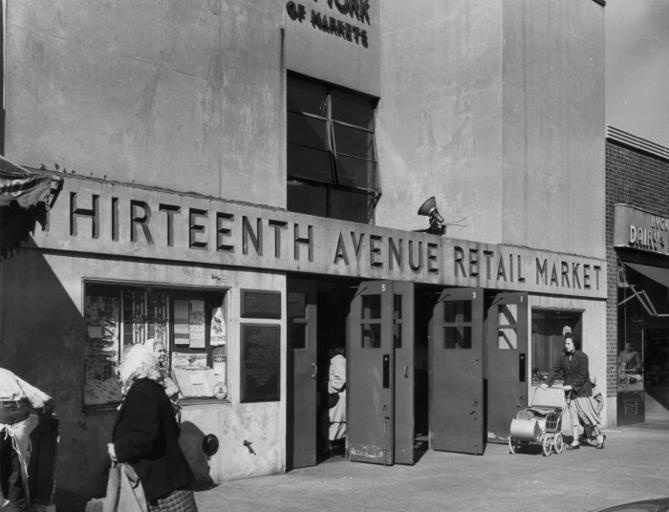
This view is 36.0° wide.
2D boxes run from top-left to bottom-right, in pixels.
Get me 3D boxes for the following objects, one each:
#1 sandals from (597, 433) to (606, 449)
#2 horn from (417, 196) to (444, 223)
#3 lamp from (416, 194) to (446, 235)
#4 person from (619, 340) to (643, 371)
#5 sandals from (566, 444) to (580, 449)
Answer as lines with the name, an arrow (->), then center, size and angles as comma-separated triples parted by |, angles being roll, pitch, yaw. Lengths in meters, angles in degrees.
sandals -> 5.075, 3.538, 19.736 | 0.139, 0.219, 0.455 | -3, 6, 19
horn -> 1.966, -0.891, 20.706 | 0.430, 0.510, 0.448 | -42, -28, -6
lamp -> 1.891, -0.790, 20.503 | 0.495, 0.806, 0.340 | 0, 14, 29
person -> 6.845, 2.385, 23.885 | 0.177, 0.570, 1.032 | 5, 1, 40
sandals -> 4.561, 3.707, 19.759 | 0.252, 0.124, 0.122 | 4, -10, -17
